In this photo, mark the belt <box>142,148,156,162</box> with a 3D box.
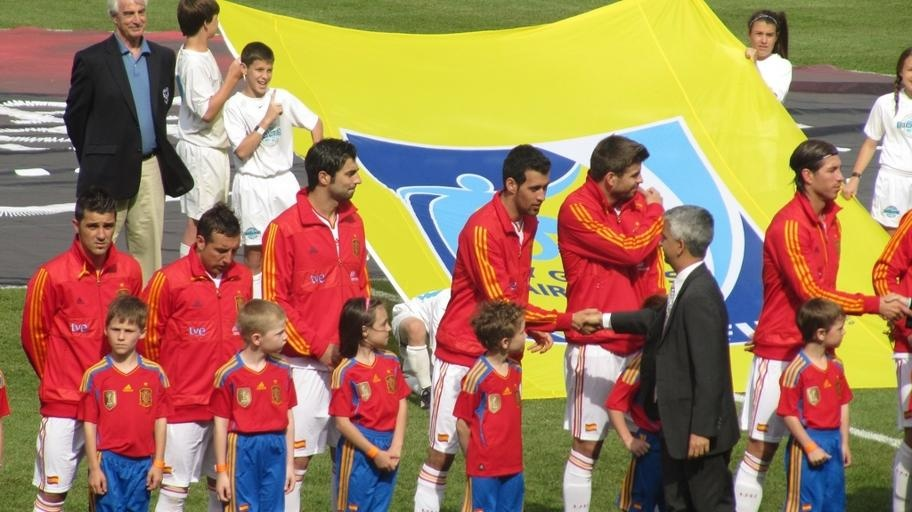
[{"bbox_3d":[-4.545,-1.505,21.608,0.192,0.154,0.034,3,-1,-28],"label":"belt"}]

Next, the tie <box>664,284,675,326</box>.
[{"bbox_3d":[2.821,0.659,19.399,0.168,0.501,0.296,2,-1,-11],"label":"tie"}]

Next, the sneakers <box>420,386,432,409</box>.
[{"bbox_3d":[-0.490,2.172,22.458,0.167,0.324,0.191,8,15,-7],"label":"sneakers"}]
